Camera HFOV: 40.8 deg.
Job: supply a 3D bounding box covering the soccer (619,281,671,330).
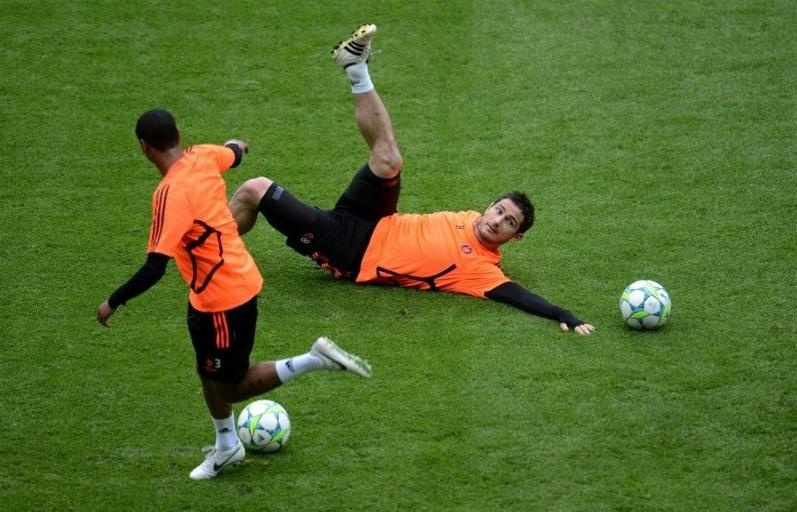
[{"bbox_3d":[1.918,0.406,8.665,0.427,0.383,0.380,1,47,-5],"label":"soccer"}]
